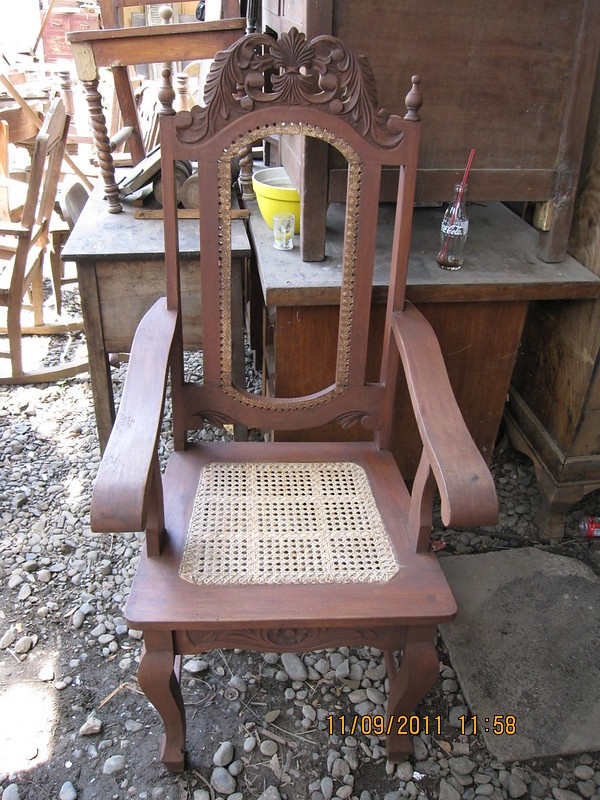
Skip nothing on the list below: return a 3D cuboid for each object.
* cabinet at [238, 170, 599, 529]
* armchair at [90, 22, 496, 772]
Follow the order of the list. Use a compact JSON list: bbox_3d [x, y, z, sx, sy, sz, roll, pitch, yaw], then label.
[{"bbox_3d":[0.221,-0.175,2.138,0.752,1.107,1.130,4,37,-12],"label":"cabinet"},{"bbox_3d":[-0.006,0.043,1.138,0.566,1.291,0.686,0,31,-4],"label":"armchair"}]
